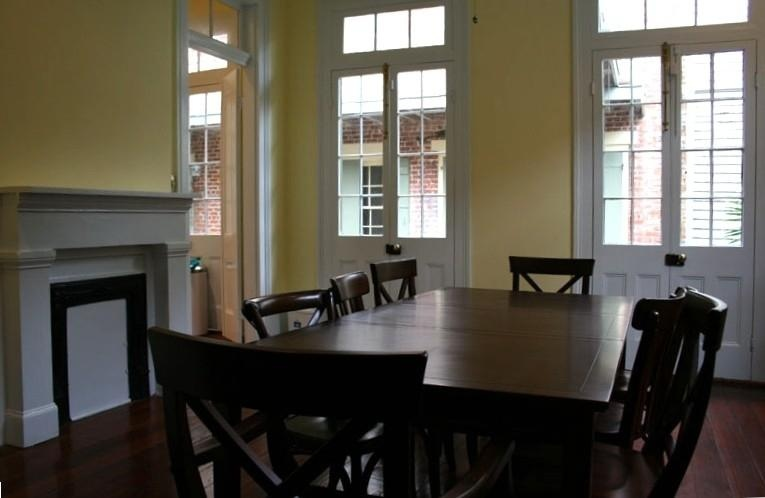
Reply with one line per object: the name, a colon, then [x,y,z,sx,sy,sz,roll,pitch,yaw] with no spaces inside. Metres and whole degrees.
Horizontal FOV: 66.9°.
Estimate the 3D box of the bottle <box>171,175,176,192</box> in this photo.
bottle: [-1.839,-0.577,5.082,0.054,0.138,0.018,-5,5,-29]
